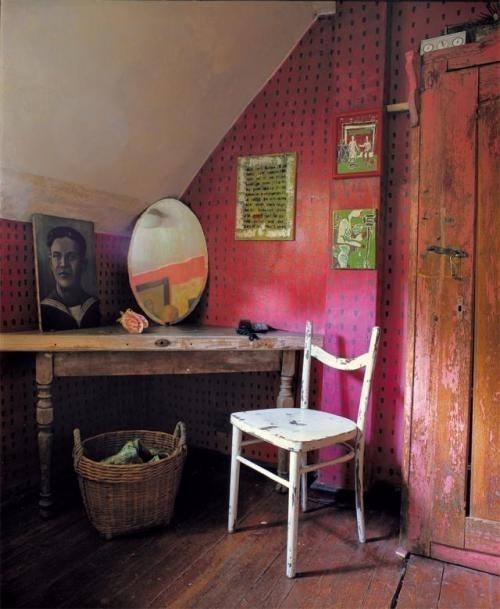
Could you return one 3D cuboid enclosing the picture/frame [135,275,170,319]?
[{"bbox_3d":[-0.544,-0.021,2.840,0.219,0.266,0.024,-2,6,-30],"label":"picture/frame"}]

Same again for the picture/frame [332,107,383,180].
[{"bbox_3d":[0.518,-0.778,2.485,0.226,0.360,0.020,0,-16,13],"label":"picture/frame"}]

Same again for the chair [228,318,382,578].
[{"bbox_3d":[0.235,0.528,2.267,0.593,0.890,0.896,3,6,20],"label":"chair"}]

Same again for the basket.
[{"bbox_3d":[-0.541,0.708,2.305,0.391,0.432,0.482,1,-7,-22],"label":"basket"}]
